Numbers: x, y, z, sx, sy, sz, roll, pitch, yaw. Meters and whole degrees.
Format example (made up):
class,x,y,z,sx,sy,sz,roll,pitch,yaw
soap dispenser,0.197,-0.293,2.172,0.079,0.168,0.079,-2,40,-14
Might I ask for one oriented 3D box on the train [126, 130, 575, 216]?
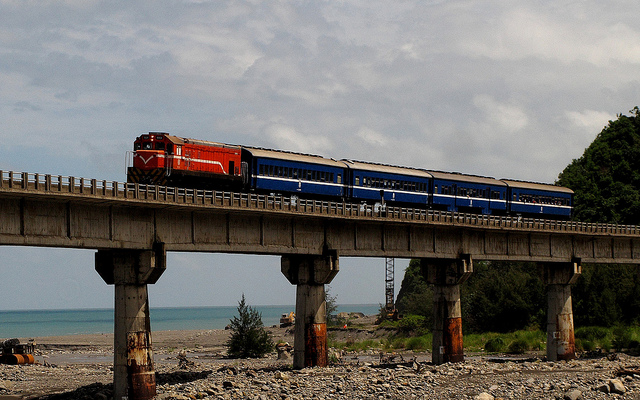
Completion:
class,x,y,z,sx,sy,sz,roll,pitch,yaw
train,4.405,-2.584,152.386,55.245,6.049,2.031,5,-7,-26
